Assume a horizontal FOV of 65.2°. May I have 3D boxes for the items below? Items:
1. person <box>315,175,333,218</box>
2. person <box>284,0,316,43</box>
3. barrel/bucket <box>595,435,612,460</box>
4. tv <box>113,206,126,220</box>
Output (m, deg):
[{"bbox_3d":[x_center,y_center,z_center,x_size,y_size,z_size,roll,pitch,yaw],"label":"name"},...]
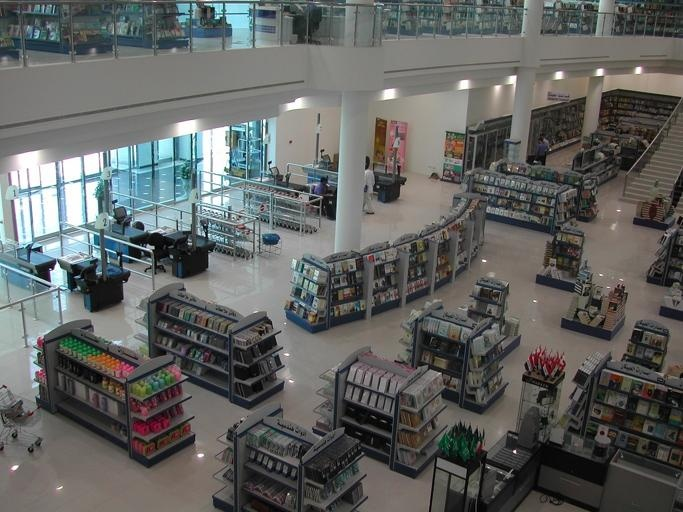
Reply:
[{"bbox_3d":[-0.595,-2.079,18.772,0.939,1.328,0.907,-2,14,5],"label":"person"},{"bbox_3d":[-1.023,-5.704,12.939,0.614,1.149,0.619,25,41,28],"label":"person"},{"bbox_3d":[3.946,2.886,8.079,0.279,0.344,0.129,-5,21,-11],"label":"barrel/bucket"},{"bbox_3d":[-6.215,-1.192,15.028,0.334,0.350,0.415,-1,12,-28],"label":"tv"}]
